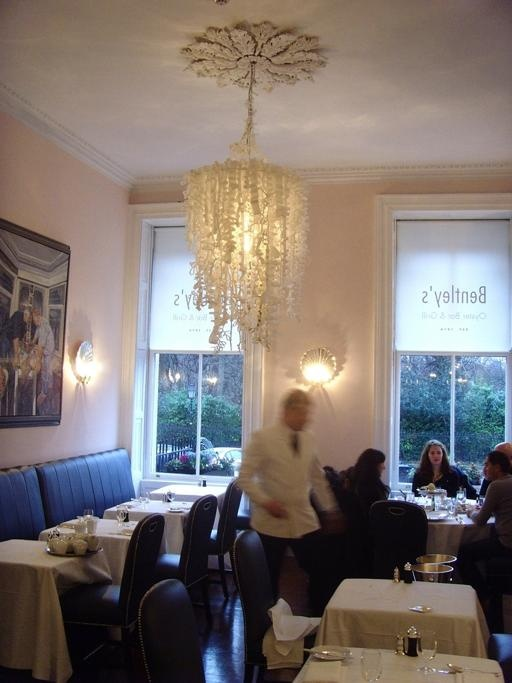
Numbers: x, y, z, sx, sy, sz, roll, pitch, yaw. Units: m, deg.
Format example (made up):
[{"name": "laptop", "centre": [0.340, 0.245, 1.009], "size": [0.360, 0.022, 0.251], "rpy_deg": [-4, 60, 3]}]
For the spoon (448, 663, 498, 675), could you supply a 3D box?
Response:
[{"name": "spoon", "centre": [0.694, 1.055, 1.775], "size": [0.132, 0.020, 0.023], "rpy_deg": [0, 27, 22]}]

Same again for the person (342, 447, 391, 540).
[{"name": "person", "centre": [0.914, 1.311, 4.575], "size": [0.297, 0.841, 0.413], "rpy_deg": [-6, 12, -15]}]

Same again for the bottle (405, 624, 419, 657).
[{"name": "bottle", "centre": [0.538, 1.033, 1.912], "size": [0.052, 0.101, 0.097], "rpy_deg": [1, -3, 12]}]

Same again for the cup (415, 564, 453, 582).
[{"name": "cup", "centre": [0.939, 1.203, 2.888], "size": [0.130, 0.093, 0.129], "rpy_deg": [-2, -8, 0]}]

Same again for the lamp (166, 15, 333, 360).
[{"name": "lamp", "centre": [-0.017, -0.974, 3.583], "size": [0.964, 2.072, 1.047], "rpy_deg": [2, -3, -9]}]

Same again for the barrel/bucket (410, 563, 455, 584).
[{"name": "barrel/bucket", "centre": [0.921, 1.204, 2.864], "size": [0.139, 0.104, 0.134], "rpy_deg": [-1, -4, 0]}]
